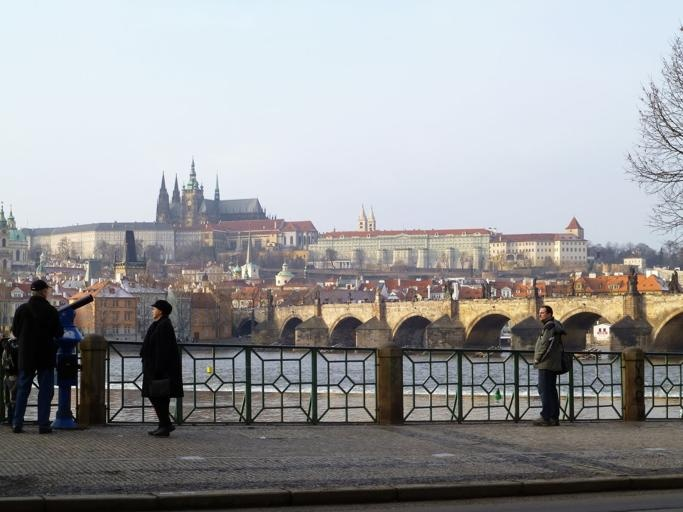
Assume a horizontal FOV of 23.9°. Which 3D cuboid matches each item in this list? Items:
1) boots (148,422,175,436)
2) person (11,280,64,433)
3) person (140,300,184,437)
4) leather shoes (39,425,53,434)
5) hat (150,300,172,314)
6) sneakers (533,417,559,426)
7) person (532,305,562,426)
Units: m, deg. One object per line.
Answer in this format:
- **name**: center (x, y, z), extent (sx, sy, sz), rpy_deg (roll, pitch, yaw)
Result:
- **boots**: center (-2.377, 2.304, 21.369), extent (0.298, 0.118, 0.161), rpy_deg (1, -3, 3)
- **person**: center (-3.962, 1.301, 21.186), extent (0.621, 2.070, 0.657), rpy_deg (3, -9, -36)
- **person**: center (-2.398, 1.481, 21.628), extent (0.560, 1.880, 0.611), rpy_deg (-1, -8, -6)
- **leather shoes**: center (-3.841, 2.278, 21.094), extent (0.172, 0.101, 0.237), rpy_deg (-1, -7, -11)
- **hat**: center (-2.444, 0.638, 21.703), extent (0.268, 0.127, 0.195), rpy_deg (27, 1, 23)
- **sneakers**: center (3.017, 2.458, 23.832), extent (0.358, 0.152, 0.140), rpy_deg (4, 0, 12)
- **person**: center (3.053, 1.598, 23.768), extent (0.514, 1.806, 0.802), rpy_deg (-3, -7, 7)
